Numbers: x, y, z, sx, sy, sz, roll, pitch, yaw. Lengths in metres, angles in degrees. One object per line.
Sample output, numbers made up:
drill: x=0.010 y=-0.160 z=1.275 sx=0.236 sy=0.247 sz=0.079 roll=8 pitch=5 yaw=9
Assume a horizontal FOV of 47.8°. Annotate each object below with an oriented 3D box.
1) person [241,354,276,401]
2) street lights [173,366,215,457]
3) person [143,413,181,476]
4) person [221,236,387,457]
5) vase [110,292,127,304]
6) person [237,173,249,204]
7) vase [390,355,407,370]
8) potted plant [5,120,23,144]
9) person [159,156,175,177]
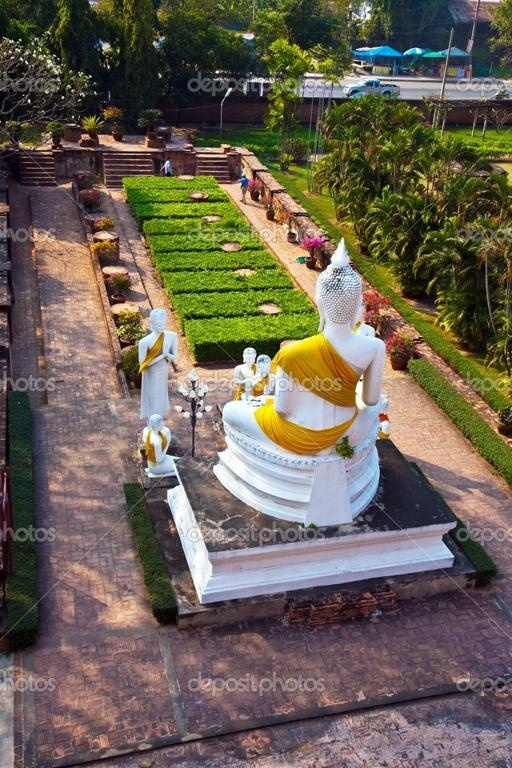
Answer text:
person: x=0.039 y=-0.081 z=9.620 sx=0.672 sy=0.736 sz=0.460 roll=-2 pitch=22 yaw=-12
street lights: x=-1.052 y=0.388 z=9.726 sx=0.511 sy=1.362 sz=0.461 roll=17 pitch=-33 yaw=-36
person: x=-1.783 y=1.043 z=10.514 sx=0.496 sy=1.192 sz=0.679 roll=-6 pitch=22 yaw=-30
person: x=0.889 y=-0.365 z=7.556 sx=1.503 sy=2.943 sz=0.654 roll=9 pitch=20 yaw=10
vase: x=-4.068 y=-2.544 z=17.121 sx=0.365 sy=0.256 sz=0.339 roll=14 pitch=38 yaw=11
person: x=-0.514 y=-8.517 z=25.417 sx=0.319 sy=1.052 sz=0.904 roll=5 pitch=19 yaw=-2
vase: x=3.714 y=-0.566 z=15.089 sx=0.363 sy=0.249 sz=0.355 roll=-3 pitch=25 yaw=-10
potted plant: x=-10.322 y=-10.706 z=24.698 sx=0.658 sy=0.914 sz=2.741 roll=-2 pitch=20 yaw=-22
person: x=-4.188 y=-10.355 z=27.531 sx=0.590 sy=0.853 sz=1.455 roll=2 pitch=19 yaw=-10
